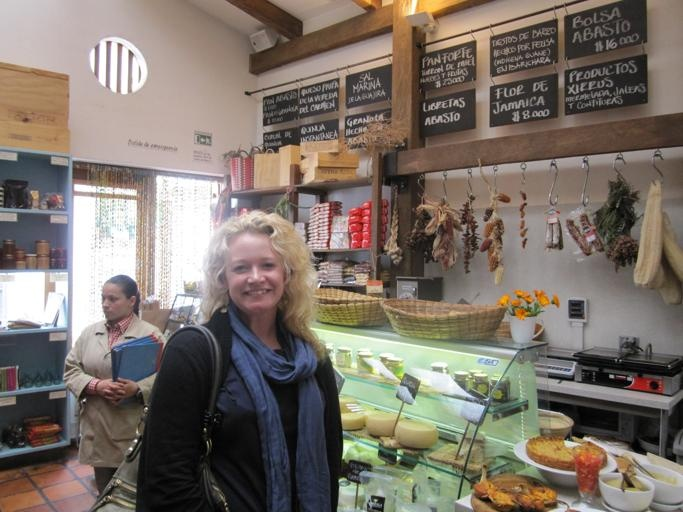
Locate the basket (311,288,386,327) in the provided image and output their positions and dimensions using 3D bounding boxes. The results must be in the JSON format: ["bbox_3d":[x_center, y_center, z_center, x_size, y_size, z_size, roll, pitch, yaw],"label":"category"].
[{"bbox_3d":[0.107,0.288,2.835,0.441,0.199,0.404,4,3,37],"label":"basket"}]

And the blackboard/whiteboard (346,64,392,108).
[{"bbox_3d":[0.295,-1.891,5.127,0.600,0.395,0.044,1,3,34],"label":"blackboard/whiteboard"}]

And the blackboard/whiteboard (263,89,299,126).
[{"bbox_3d":[-0.771,-1.921,5.919,0.559,0.387,0.074,-1,-3,39],"label":"blackboard/whiteboard"}]

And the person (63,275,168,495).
[{"bbox_3d":[-1.537,0.852,3.343,0.706,2.096,0.782,0,0,40],"label":"person"}]

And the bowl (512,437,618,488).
[{"bbox_3d":[1.006,0.859,2.033,0.396,0.181,0.347,2,0,37],"label":"bowl"}]

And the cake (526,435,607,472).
[{"bbox_3d":[0.983,0.792,1.987,0.277,0.130,0.286,-1,-2,38],"label":"cake"}]

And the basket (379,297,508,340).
[{"bbox_3d":[0.558,0.290,2.361,0.421,0.194,0.592,-1,3,-44],"label":"basket"}]

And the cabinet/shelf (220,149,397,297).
[{"bbox_3d":[-0.140,-0.332,3.929,1.679,1.658,0.543,-2,-3,34],"label":"cabinet/shelf"}]

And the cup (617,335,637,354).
[{"bbox_3d":[2.258,0.689,3.587,0.115,0.149,0.156,-1,-4,31],"label":"cup"}]

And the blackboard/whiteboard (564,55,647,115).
[{"bbox_3d":[2.198,-1.411,3.798,0.589,0.389,0.042,1,3,32],"label":"blackboard/whiteboard"}]

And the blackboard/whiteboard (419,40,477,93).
[{"bbox_3d":[1.055,-1.881,4.559,0.572,0.392,0.050,1,3,31],"label":"blackboard/whiteboard"}]
